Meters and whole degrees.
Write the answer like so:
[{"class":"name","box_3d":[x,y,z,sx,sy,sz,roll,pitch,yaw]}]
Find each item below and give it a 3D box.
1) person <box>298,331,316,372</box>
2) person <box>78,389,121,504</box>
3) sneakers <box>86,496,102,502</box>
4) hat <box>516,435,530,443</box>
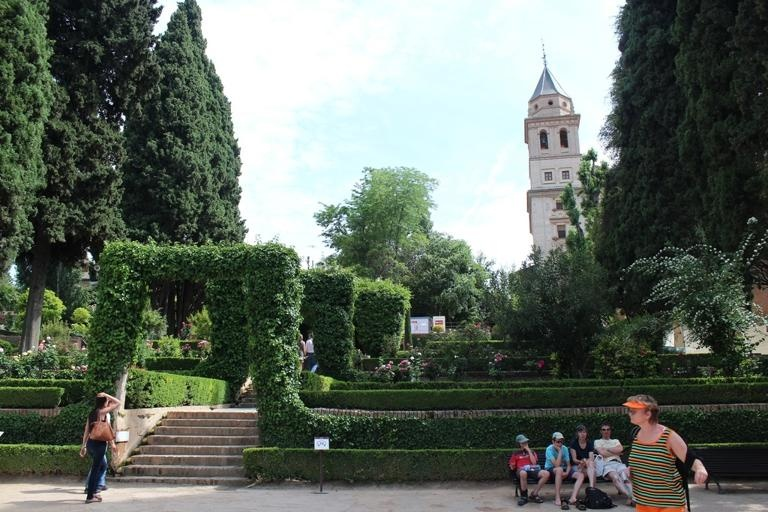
[{"class":"person","box_3d":[-3.570,4.620,41.662,0.826,2.014,1.356,2,-13,-4]},{"class":"person","box_3d":[-9.628,6.462,29.018,0.932,3.625,0.769,6,-14,-21]},{"class":"sneakers","box_3d":[-9.591,8.098,28.482,0.444,0.192,0.218,-1,-7,-9]},{"class":"hat","box_3d":[4.709,6.313,29.396,0.301,0.162,0.432,-12,-7,-12]}]
